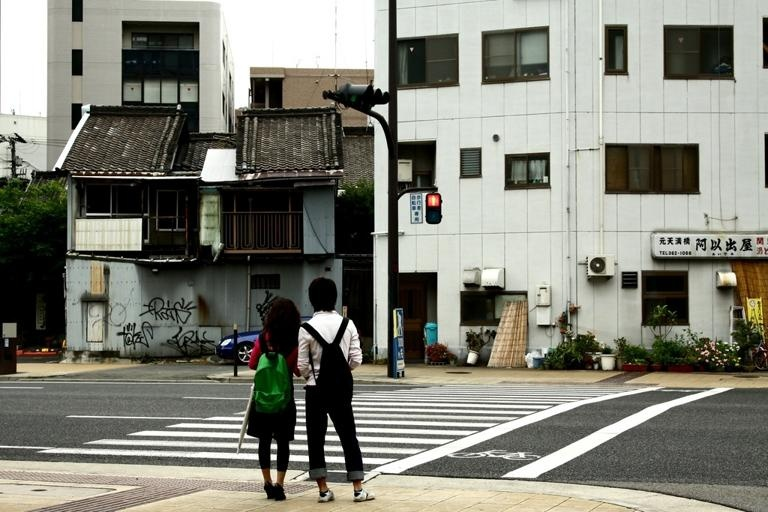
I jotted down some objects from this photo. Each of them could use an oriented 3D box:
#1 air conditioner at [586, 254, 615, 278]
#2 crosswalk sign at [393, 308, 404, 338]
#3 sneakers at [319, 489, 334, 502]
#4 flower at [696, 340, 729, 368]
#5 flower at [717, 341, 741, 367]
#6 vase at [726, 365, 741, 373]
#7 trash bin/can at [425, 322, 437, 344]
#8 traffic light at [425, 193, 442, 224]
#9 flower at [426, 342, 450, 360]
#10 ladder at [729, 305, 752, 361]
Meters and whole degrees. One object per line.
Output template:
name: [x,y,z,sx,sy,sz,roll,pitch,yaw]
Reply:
air conditioner: [8.106,0.496,43.797,1.187,0.920,0.719,0,-6,4]
crosswalk sign: [0.410,2.303,39.268,0.114,1.028,0.567,3,7,32]
sneakers: [-1.344,5.615,26.680,0.370,0.289,0.245,-2,6,-13]
flower: [11.693,3.632,41.809,0.910,0.872,0.971,-3,17,-23]
flower: [12.332,3.618,41.886,0.925,1.094,0.807,0,-4,-9]
vase: [12.484,4.113,41.615,0.704,0.234,0.277,-4,7,-30]
trash bin/can: [1.767,3.116,45.177,0.611,1.047,0.728,1,-3,4]
traffic light: [1.599,-1.618,38.447,0.551,1.139,0.221,-1,28,1]
flower: [1.959,3.777,44.493,0.653,0.731,0.692,1,5,12]
ladder: [12.963,2.962,42.613,0.528,2.131,0.651,-6,-8,-21]
